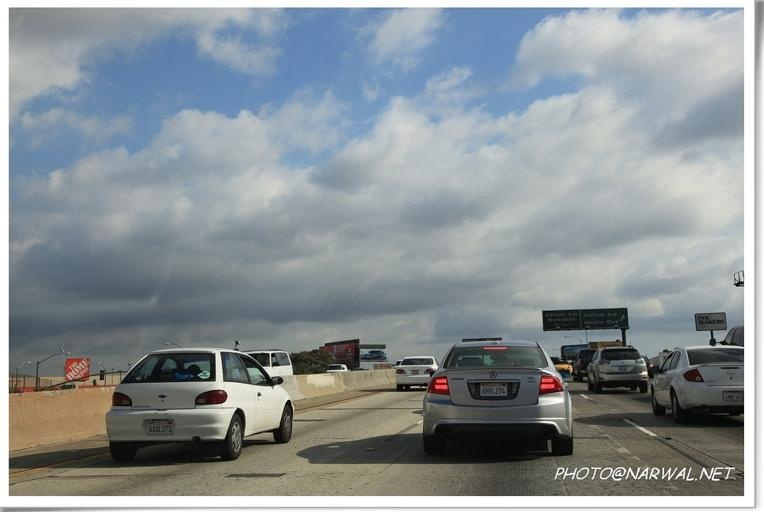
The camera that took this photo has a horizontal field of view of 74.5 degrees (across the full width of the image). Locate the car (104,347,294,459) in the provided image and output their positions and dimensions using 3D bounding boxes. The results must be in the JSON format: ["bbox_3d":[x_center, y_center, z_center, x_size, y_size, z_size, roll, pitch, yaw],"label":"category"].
[{"bbox_3d":[-3.635,3.113,10.622,2.005,2.265,3.341,-13,-14,39],"label":"car"}]
